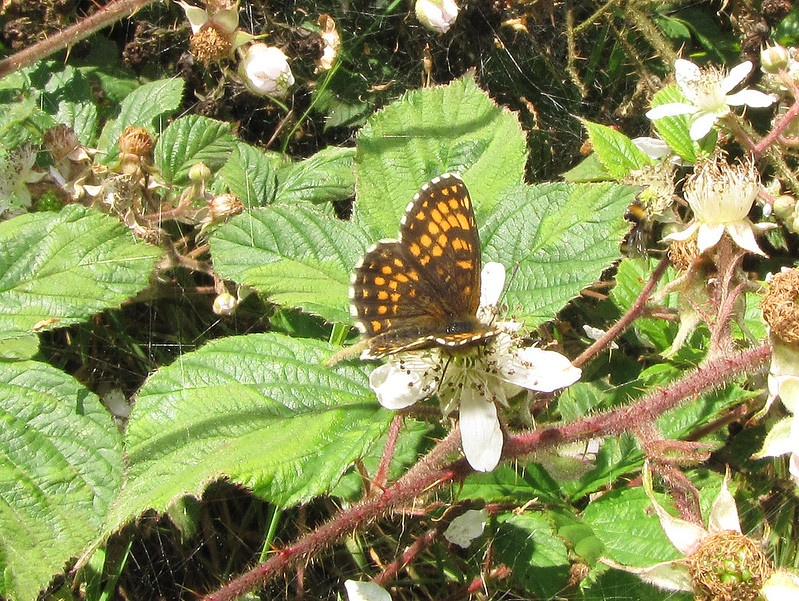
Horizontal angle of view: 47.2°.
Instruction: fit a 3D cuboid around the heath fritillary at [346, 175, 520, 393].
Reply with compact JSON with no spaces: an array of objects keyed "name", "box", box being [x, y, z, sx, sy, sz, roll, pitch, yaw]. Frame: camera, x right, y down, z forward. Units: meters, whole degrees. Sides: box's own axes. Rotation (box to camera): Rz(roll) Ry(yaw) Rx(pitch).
[{"name":"heath fritillary","box":[0.123,-0.060,3.101,0.500,0.302,0.624,-7,60,7]}]
